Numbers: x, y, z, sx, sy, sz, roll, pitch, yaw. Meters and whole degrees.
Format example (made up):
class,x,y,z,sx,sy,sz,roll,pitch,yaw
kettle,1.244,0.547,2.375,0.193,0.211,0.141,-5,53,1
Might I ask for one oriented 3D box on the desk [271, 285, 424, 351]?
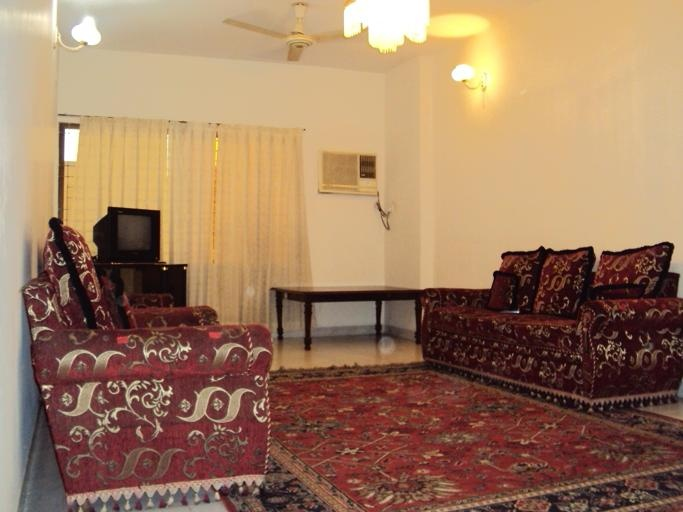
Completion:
class,x,y,z,sx,sy,sz,roll,pitch,yaw
desk,0.044,0.670,7.120,1.562,0.677,1.083,-1,3,-19

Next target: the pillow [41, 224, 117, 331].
class,x,y,z,sx,sy,sz,roll,pitch,yaw
pillow,-1.235,0.100,2.905,0.129,0.468,0.449,-16,-4,3

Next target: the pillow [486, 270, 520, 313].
class,x,y,z,sx,sy,sz,roll,pitch,yaw
pillow,1.414,0.303,5.413,0.072,0.317,0.300,10,-5,-32

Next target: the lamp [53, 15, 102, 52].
class,x,y,z,sx,sy,sz,roll,pitch,yaw
lamp,-2.153,-1.792,5.028,0.350,0.276,0.212,2,1,-28

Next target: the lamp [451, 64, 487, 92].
class,x,y,z,sx,sy,sz,roll,pitch,yaw
lamp,1.337,-1.830,6.484,0.277,0.158,0.377,3,-10,44
